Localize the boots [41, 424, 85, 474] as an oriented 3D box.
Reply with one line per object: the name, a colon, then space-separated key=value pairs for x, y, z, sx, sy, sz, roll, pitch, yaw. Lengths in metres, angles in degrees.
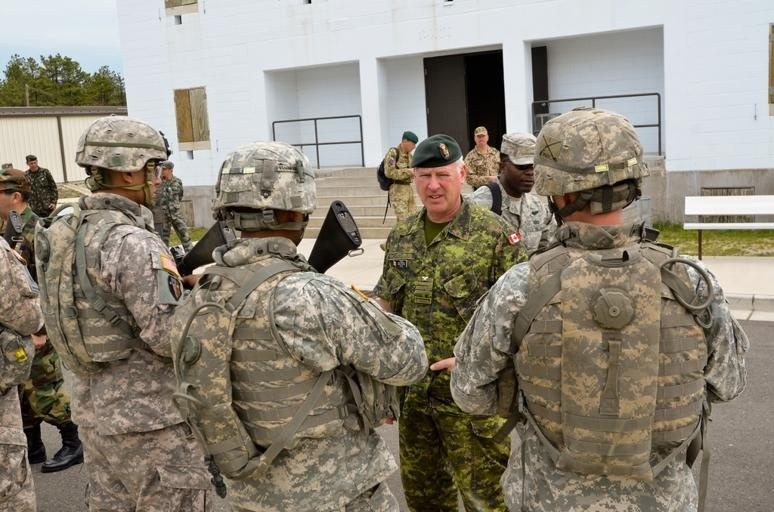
boots: x=-3.154 y=1.824 z=8.693 sx=0.240 sy=0.490 sz=0.505 roll=-6 pitch=2 yaw=30

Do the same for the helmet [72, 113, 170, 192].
helmet: x=-2.125 y=-0.824 z=7.175 sx=0.616 sy=0.498 sz=0.573 roll=-8 pitch=14 yaw=-31

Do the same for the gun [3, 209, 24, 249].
gun: x=-3.662 y=-0.259 z=8.850 sx=0.133 sy=0.520 sz=0.206 roll=10 pitch=35 yaw=-19

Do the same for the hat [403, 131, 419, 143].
hat: x=0.393 y=-2.125 z=15.934 sx=0.301 sy=0.139 sz=0.379 roll=7 pitch=15 yaw=-9

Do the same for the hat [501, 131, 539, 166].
hat: x=1.180 y=-0.947 z=7.973 sx=0.319 sy=0.218 sz=0.415 roll=-1 pitch=13 yaw=-7
